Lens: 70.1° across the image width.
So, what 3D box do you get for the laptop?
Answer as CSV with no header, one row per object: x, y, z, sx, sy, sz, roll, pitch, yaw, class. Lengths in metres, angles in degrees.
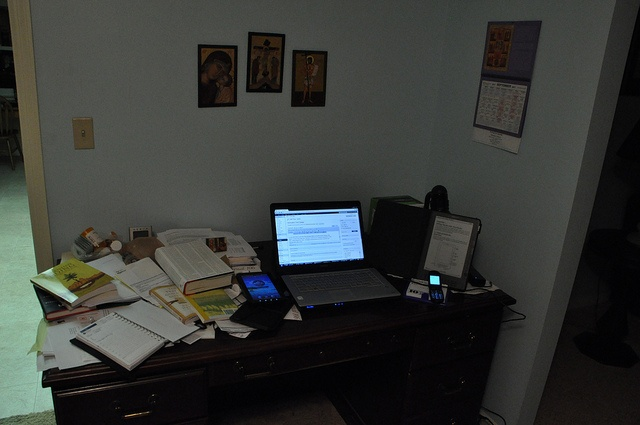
0.058,0.213,2.180,0.537,0.352,0.526,-5,30,-19,laptop

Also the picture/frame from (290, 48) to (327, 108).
-0.058,-0.729,2.480,0.224,0.301,0.012,11,18,26,picture/frame

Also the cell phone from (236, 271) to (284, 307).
-0.279,0.341,2.111,0.164,0.070,0.206,-10,23,-27,cell phone
